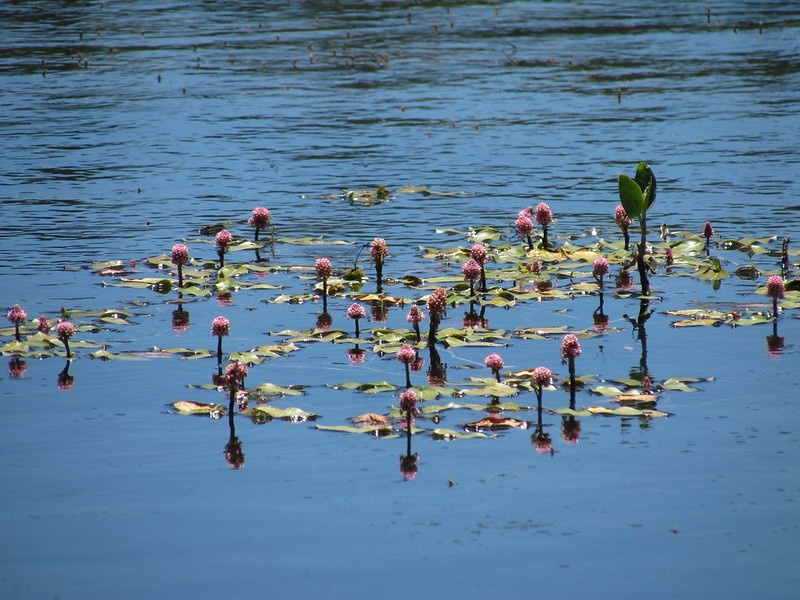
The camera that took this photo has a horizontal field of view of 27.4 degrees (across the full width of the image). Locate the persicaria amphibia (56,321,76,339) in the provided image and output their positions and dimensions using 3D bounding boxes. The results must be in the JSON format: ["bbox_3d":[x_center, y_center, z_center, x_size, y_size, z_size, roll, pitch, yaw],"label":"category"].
[{"bbox_3d":[-4.088,0.355,20.218,0.297,0.195,0.236,0,10,-3],"label":"persicaria amphibia"}]

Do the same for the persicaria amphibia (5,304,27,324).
[{"bbox_3d":[-4.872,0.171,20.848,0.264,0.244,0.263,16,20,39],"label":"persicaria amphibia"}]

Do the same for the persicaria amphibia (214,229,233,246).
[{"bbox_3d":[-2.512,-0.917,23.554,0.322,0.231,0.265,-10,28,-17],"label":"persicaria amphibia"}]

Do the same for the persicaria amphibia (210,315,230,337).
[{"bbox_3d":[-2.188,0.316,19.987,0.193,0.252,0.267,-1,8,-8],"label":"persicaria amphibia"}]
